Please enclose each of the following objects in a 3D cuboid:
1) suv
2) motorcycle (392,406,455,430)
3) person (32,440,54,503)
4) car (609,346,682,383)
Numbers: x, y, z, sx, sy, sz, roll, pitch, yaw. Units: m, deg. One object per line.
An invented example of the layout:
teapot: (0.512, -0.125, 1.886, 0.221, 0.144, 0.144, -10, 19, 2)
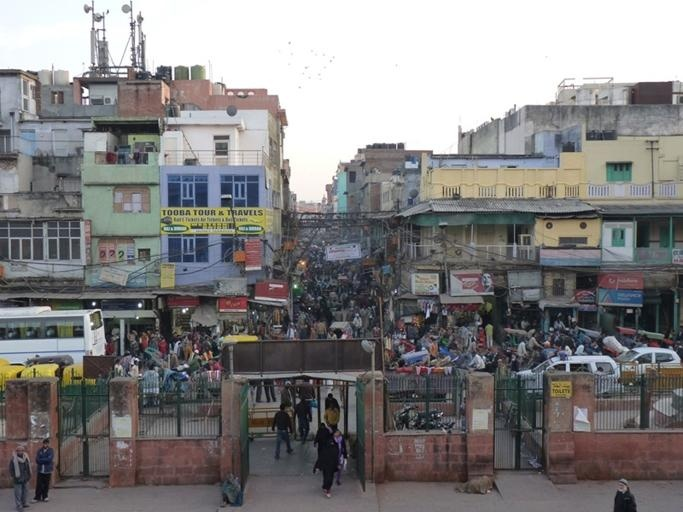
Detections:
suv: (10.218, 5.494, 78.003, 3.733, 1.370, 2.072, 1, -1, 1)
motorcycle: (3.532, 6.731, 73.989, 2.168, 1.208, 1.086, 3, -11, 5)
person: (-12.225, 8.778, 72.427, 0.830, 2.292, 0.692, -1, 0, -10)
car: (13.932, 4.919, 79.688, 2.601, 1.340, 1.586, 1, -2, 1)
